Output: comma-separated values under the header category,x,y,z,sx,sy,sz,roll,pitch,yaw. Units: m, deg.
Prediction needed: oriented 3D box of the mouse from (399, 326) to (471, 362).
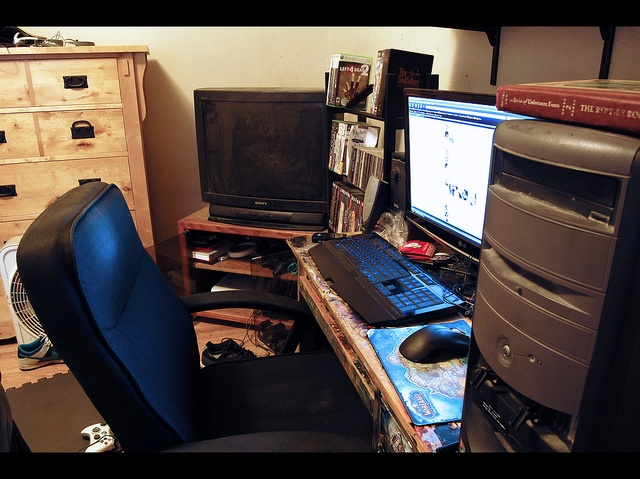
category,x,y,z,sx,sy,sz,roll,pitch,yaw
mouse,0.221,0.203,0.908,0.114,0.036,0.065,-8,16,-18

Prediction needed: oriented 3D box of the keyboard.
category,x,y,z,sx,sy,sz,roll,pitch,yaw
keyboard,0.139,0.085,1.269,0.245,0.081,0.515,-7,22,-16

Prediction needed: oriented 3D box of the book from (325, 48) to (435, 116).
category,x,y,z,sx,sy,sz,roll,pitch,yaw
book,0.207,-0.593,1.767,0.207,0.216,0.448,-10,22,-25

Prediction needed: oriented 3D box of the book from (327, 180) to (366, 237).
category,x,y,z,sx,sy,sz,roll,pitch,yaw
book,0.110,-0.128,1.905,0.089,0.267,0.231,1,10,-22

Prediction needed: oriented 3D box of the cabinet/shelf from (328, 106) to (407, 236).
category,x,y,z,sx,sy,sz,roll,pitch,yaw
cabinet/shelf,0.180,-0.259,1.771,0.169,0.517,0.463,-3,16,-22
